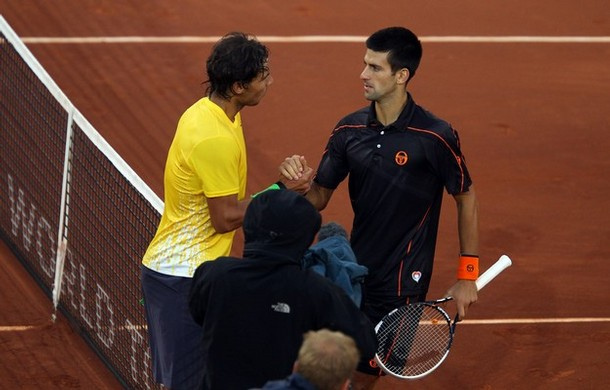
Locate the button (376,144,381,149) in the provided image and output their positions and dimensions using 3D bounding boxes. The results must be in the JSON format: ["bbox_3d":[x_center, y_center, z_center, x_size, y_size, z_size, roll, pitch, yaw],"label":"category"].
[{"bbox_3d":[0.821,-0.548,12.591,0.049,0.050,0.014,-1,-5,4],"label":"button"}]
